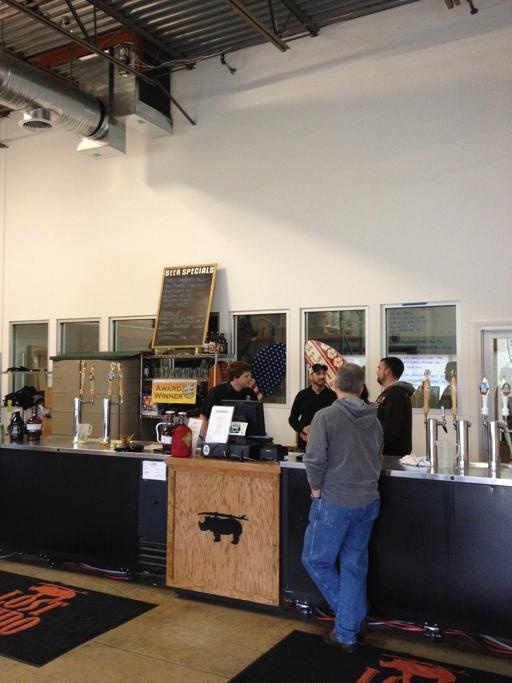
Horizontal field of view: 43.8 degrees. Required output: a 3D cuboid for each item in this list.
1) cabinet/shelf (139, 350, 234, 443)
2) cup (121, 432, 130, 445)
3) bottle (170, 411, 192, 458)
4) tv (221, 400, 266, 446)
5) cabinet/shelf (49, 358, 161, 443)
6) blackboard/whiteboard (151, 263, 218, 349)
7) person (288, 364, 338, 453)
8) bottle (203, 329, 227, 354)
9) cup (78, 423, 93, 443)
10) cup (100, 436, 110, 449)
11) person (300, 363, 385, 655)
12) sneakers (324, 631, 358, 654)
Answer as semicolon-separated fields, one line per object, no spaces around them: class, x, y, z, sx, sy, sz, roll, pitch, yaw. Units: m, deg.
cabinet/shelf;-0.716;0.607;6.859;0.944;1.022;0.289;-6;2;-27
cup;-0.892;0.667;4.350;0.059;0.077;0.059;3;-9;1
bottle;-0.473;0.576;3.974;0.150;0.261;0.148;0;-2;0
tv;-0.086;0.488;3.777;0.254;0.242;0.132;3;2;23
cabinet/shelf;-1.438;0.577;6.305;0.902;0.844;0.292;-3;-6;27
blackboard/whiteboard;-0.716;-0.366;6.567;0.941;1.194;0.050;-2;-15;37
person;0.490;0.684;5.345;0.495;0.969;0.392;-1;-1;14
bottle;-0.413;0.005;6.366;0.202;0.358;0.199;-1;-1;0
cup;-1.259;0.665;4.685;0.097;0.145;0.342;0;0;-5
cup;-1.050;0.702;4.419;0.063;0.069;0.069;2;-6;0
person;0.424;0.877;3.134;0.418;1.199;0.221;0;-1;-6
sneakers;0.399;1.446;3.104;0.058;0.069;0.156;2;4;-42
